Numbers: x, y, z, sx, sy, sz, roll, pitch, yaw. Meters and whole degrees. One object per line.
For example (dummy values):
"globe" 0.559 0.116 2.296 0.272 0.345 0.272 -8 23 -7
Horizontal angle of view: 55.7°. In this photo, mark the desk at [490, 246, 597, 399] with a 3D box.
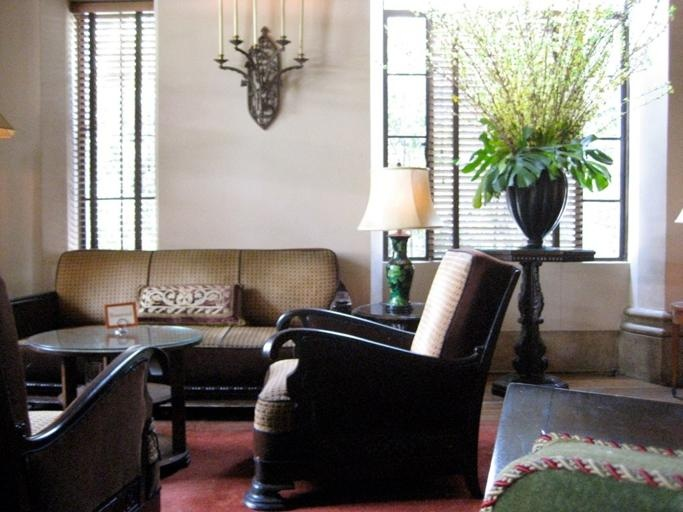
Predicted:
"desk" 1.181 0.403 4.107 0.775 0.876 0.793 -1 -5 19

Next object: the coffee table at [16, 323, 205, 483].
"coffee table" -1.103 0.714 3.154 0.778 0.613 0.799 2 -10 -12

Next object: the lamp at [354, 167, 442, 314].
"lamp" 0.336 -0.092 3.691 0.481 0.810 0.473 0 1 -32

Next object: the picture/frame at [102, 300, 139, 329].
"picture/frame" -1.113 0.297 3.258 0.177 0.168 0.048 2 1 -20

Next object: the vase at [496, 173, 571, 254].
"vase" 1.171 -0.256 4.034 0.413 0.474 0.422 0 -3 13
